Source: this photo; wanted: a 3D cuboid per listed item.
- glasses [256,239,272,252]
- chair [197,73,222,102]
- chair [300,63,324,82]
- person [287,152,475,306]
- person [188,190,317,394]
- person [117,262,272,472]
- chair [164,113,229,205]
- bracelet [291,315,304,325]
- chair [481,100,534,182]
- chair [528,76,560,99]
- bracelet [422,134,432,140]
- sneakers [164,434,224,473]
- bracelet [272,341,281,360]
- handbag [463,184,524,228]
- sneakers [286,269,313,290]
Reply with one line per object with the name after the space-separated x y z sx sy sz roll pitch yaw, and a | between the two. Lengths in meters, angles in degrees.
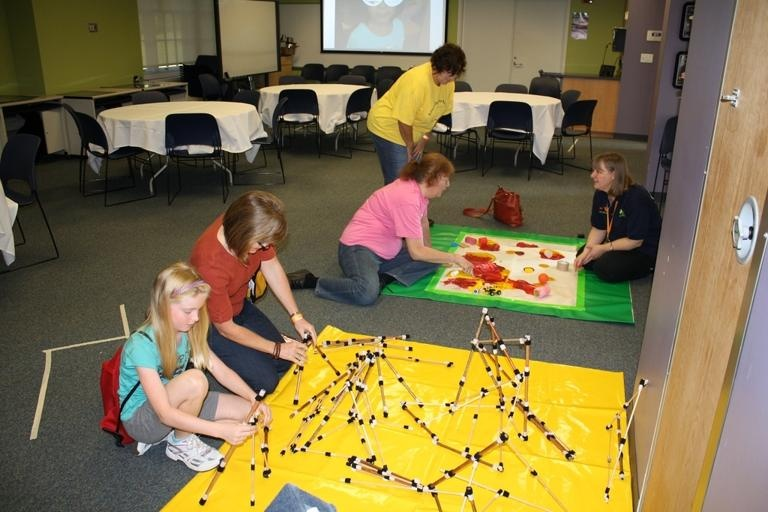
-0.611 -0.054 2.808 0.044 0.025 0.028 -26 44 -16 | glasses
-2.681 -2.601 8.610 0.266 0.419 0.584 -5 22 -12 | chair
-1.306 -3.401 10.308 0.365 0.303 0.261 4 22 10 | chair
-0.003 -0.242 4.051 1.187 1.023 0.758 -6 12 -30 | person
-0.729 0.220 3.068 0.732 1.191 0.567 25 33 23 | person
-0.881 0.530 2.620 0.730 0.957 0.432 8 23 20 | person
-2.105 -1.210 6.253 0.696 0.927 1.362 -7 23 -17 | chair
-0.503 0.365 3.214 0.056 0.038 0.057 -4 4 -4 | bracelet
1.585 -1.591 7.170 0.600 0.901 1.200 4 22 11 | chair
2.294 -2.410 8.046 0.355 0.486 0.405 7 29 24 | chair
0.356 -1.044 4.851 0.062 0.065 0.019 3 -14 -34 | bracelet
-0.914 0.946 2.663 0.292 0.137 0.144 14 15 12 | sneakers
-0.567 0.511 3.009 0.066 0.078 0.027 0 -9 36 | bracelet
1.060 -0.489 5.431 0.546 0.323 0.369 10 24 22 | handbag
-0.655 0.175 4.167 0.271 0.119 0.090 5 22 13 | sneakers
